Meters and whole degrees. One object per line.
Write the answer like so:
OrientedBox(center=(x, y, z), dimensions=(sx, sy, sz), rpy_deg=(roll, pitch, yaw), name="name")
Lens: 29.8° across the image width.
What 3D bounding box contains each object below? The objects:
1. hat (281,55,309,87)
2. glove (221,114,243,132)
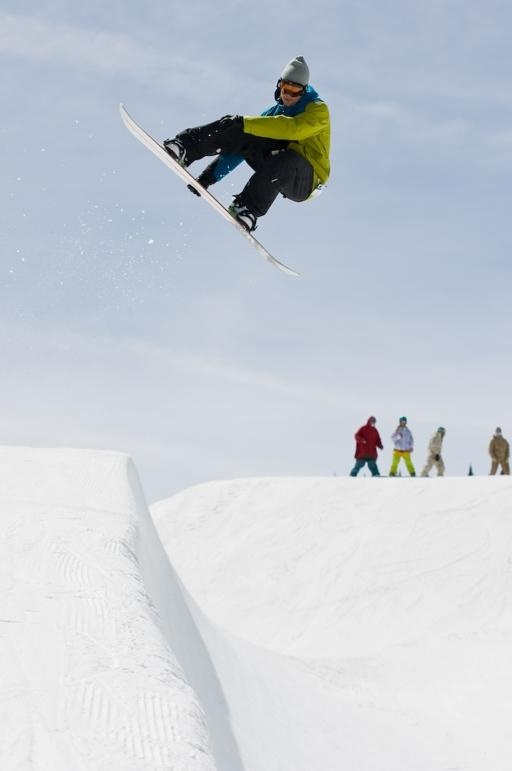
OrientedBox(center=(0.324, -2.524, 7.627), dimensions=(0.224, 0.213, 0.296), rpy_deg=(9, 3, -2), name="hat")
OrientedBox(center=(-0.197, -2.051, 7.567), dimensions=(0.191, 0.121, 0.092), rpy_deg=(9, 3, -5), name="glove")
